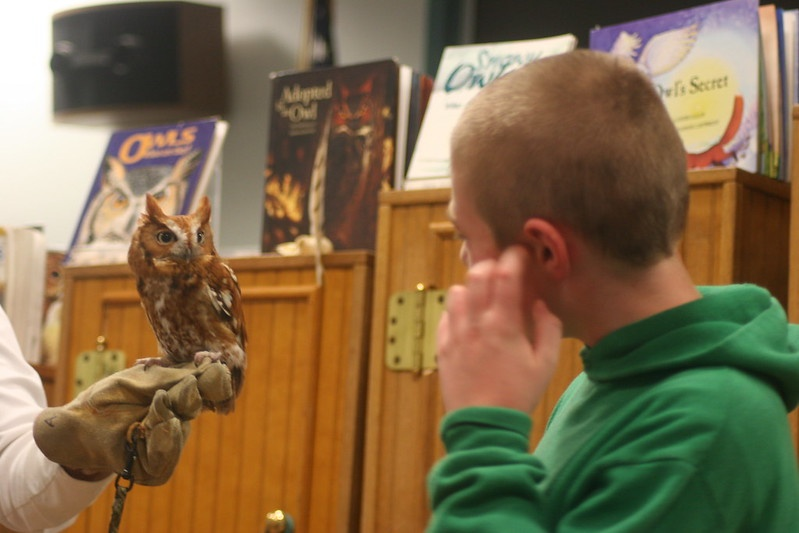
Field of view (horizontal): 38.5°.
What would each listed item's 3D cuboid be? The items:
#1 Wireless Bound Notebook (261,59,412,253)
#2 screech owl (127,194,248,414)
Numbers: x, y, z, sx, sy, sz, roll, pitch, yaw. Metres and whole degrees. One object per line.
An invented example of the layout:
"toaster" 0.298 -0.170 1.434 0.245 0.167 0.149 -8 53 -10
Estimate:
"Wireless Bound Notebook" -0.142 -0.252 2.753 0.362 0.473 0.159 -6 -15 28
"screech owl" -0.476 0.099 2.519 0.247 0.542 0.383 -12 -27 11
